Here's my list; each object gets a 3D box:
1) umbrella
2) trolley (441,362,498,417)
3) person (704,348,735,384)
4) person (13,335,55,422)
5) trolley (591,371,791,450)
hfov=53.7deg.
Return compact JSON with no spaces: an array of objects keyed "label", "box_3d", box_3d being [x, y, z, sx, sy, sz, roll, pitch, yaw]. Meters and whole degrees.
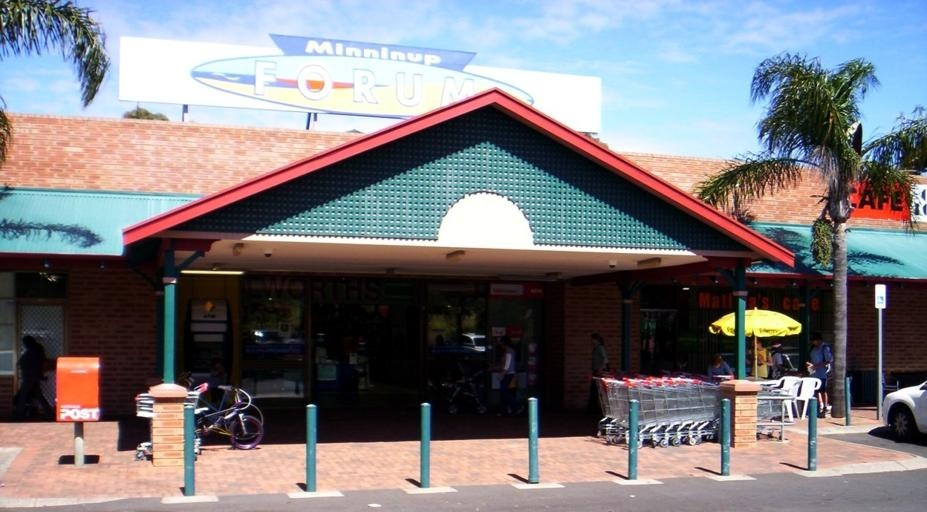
[{"label":"umbrella","box_3d":[9.558,2.996,30.034,2.936,2.493,2.729,1,4,20]},{"label":"trolley","box_3d":[0.013,4.497,31.361,1.830,1.626,1.630,4,-12,-31]},{"label":"person","box_3d":[8.267,3.494,29.205,0.855,0.869,1.376,-16,5,8]},{"label":"person","box_3d":[-13.265,3.663,28.140,1.025,2.529,0.904,-3,10,-23]},{"label":"trolley","box_3d":[6.526,4.299,26.592,4.577,1.309,2.358,-1,1,-8]}]
